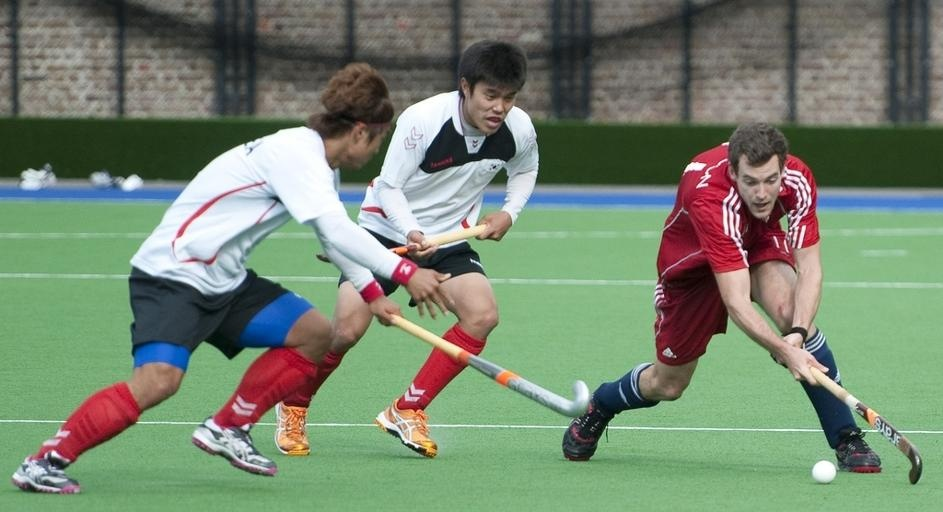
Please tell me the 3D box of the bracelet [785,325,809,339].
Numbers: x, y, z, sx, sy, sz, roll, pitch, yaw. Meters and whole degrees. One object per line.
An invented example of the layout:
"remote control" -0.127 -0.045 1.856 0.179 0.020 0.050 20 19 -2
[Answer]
"bracelet" 2.652 0.618 9.093 0.130 0.079 0.129 1 1 -14

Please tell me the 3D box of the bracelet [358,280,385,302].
"bracelet" -0.805 0.283 8.963 0.173 0.119 0.177 -27 -1 -23

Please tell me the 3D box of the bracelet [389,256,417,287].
"bracelet" -0.533 0.131 8.936 0.213 0.209 0.070 23 -5 28

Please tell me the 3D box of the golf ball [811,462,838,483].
"golf ball" 2.845 1.721 8.974 0.176 0.170 0.170 1 20 -1
